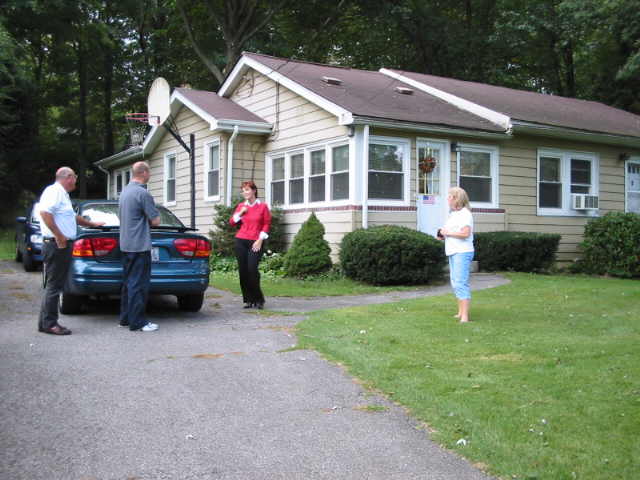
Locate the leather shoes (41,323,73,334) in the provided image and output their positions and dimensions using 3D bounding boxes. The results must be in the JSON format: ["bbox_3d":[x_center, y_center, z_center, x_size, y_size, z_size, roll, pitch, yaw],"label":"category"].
[{"bbox_3d":[-3.520,1.165,8.459,0.334,0.143,0.182,0,-2,4],"label":"leather shoes"}]

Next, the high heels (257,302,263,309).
[{"bbox_3d":[-1.020,1.103,10.764,0.087,0.109,0.258,0,-8,-6],"label":"high heels"}]

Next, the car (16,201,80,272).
[{"bbox_3d":[-7.504,0.045,17.710,2.190,2.023,4.062,0,1,-31],"label":"car"}]

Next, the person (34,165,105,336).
[{"bbox_3d":[-3.544,0.142,8.505,0.460,2.224,0.546,0,6,4],"label":"person"}]

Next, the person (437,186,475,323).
[{"bbox_3d":[2.032,0.197,9.197,0.410,1.873,0.555,-4,7,-36],"label":"person"}]

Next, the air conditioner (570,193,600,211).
[{"bbox_3d":[8.087,-1.157,19.352,0.920,0.495,0.290,-4,7,-32],"label":"air conditioner"}]

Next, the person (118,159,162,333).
[{"bbox_3d":[-2.535,0.247,8.786,0.607,1.975,0.471,0,6,4],"label":"person"}]

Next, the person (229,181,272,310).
[{"bbox_3d":[-1.163,0.101,10.655,0.642,2.151,0.670,-1,6,-10],"label":"person"}]

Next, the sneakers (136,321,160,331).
[{"bbox_3d":[-2.382,1.221,8.810,0.266,0.122,0.100,-7,40,-6],"label":"sneakers"}]

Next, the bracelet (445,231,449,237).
[{"bbox_3d":[1.839,-0.096,9.146,0.054,0.073,0.020,-3,0,26],"label":"bracelet"}]
